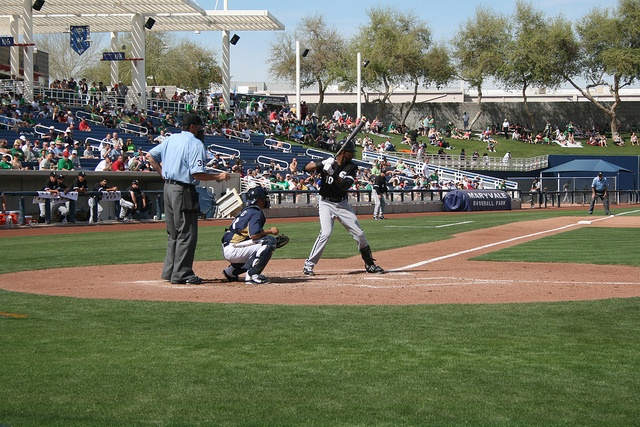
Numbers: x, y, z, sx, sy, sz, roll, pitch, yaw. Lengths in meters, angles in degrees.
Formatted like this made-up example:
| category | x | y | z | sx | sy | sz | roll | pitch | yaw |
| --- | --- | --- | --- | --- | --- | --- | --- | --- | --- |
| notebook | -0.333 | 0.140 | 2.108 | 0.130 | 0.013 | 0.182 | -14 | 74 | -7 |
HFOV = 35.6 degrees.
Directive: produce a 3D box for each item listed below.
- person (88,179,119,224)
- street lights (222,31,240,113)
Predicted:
| category | x | y | z | sx | sy | sz | roll | pitch | yaw |
| --- | --- | --- | --- | --- | --- | --- | --- | --- | --- |
| person | -8.851 | -0.512 | 40.320 | 1.000 | 1.715 | 1.072 | 2 | 1 | 1 |
| street lights | -5.618 | -9.914 | 63.067 | 1.064 | 3.045 | 0.587 | 6 | 27 | 6 |
